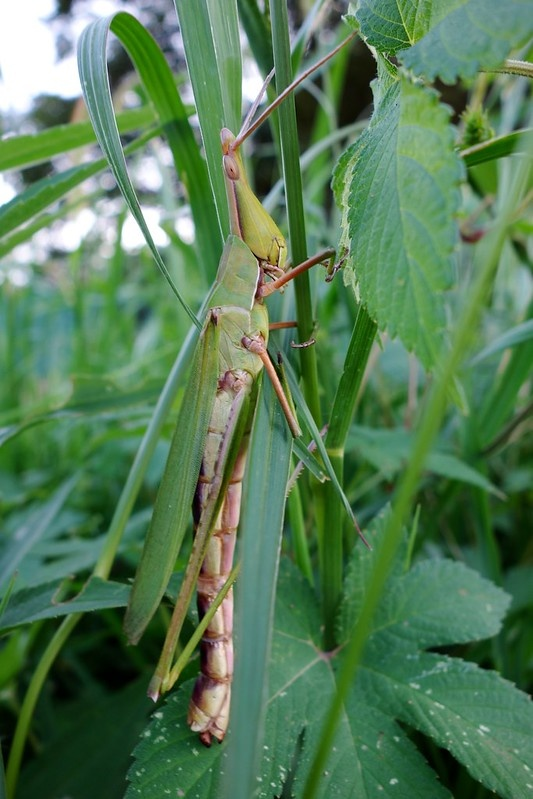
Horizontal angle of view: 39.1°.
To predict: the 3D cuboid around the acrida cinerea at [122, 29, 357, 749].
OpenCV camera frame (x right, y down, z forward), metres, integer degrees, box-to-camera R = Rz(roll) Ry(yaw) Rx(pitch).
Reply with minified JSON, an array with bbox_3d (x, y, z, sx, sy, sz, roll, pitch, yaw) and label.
[{"bbox_3d":[0.037,-0.019,0.705,0.161,0.192,0.582,11,78,1],"label":"acrida cinerea"}]
